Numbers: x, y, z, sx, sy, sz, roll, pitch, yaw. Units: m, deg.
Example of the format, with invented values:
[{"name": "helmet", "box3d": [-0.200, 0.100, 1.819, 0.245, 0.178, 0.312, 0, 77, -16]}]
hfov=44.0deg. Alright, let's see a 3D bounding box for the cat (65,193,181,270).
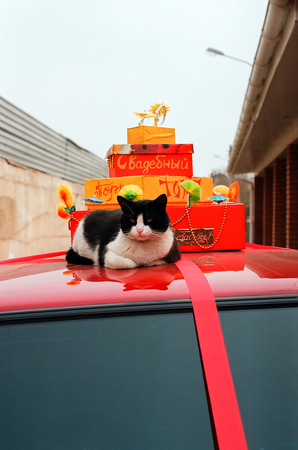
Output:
[{"name": "cat", "box3d": [-0.127, 0.014, 1.582, 0.432, 0.278, 0.556, -2, 2, -36]}]
